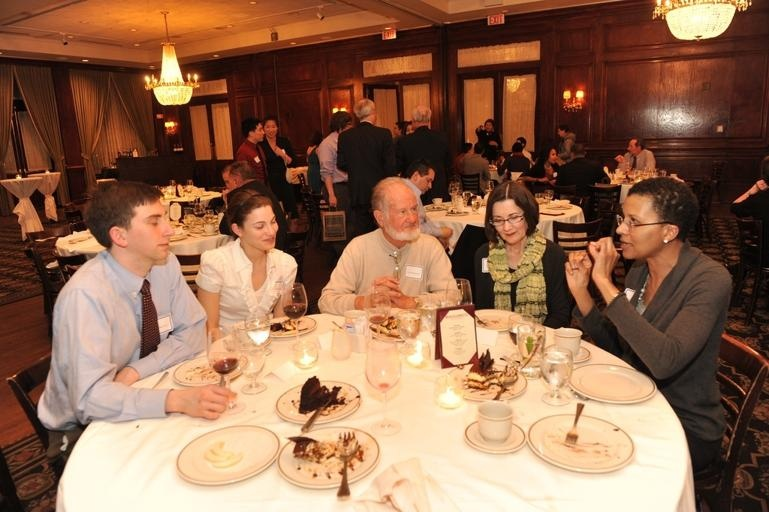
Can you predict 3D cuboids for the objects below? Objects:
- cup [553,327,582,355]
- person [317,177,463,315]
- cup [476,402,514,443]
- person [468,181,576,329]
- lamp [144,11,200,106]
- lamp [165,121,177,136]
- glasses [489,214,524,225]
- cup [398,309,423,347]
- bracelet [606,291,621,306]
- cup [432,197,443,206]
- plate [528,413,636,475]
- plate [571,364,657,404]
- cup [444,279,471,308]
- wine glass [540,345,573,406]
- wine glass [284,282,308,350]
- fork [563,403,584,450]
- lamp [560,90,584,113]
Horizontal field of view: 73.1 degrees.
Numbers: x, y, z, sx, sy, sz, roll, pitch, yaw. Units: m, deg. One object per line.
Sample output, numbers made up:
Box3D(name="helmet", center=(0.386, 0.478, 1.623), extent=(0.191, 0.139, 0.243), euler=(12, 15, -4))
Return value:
Box3D(name="cup", center=(0.834, 0.375, 2.400), extent=(0.109, 0.107, 0.138), euler=(-4, 9, 1))
Box3D(name="person", center=(0.039, -0.064, 3.192), extent=(0.709, 0.743, 0.917), euler=(8, 22, 30))
Box3D(name="cup", center=(0.411, 0.636, 1.967), extent=(0.146, 0.114, 0.138), euler=(-3, 7, 0))
Box3D(name="person", center=(0.781, 0.094, 3.151), extent=(0.611, 0.952, 0.616), euler=(1, 29, 27))
Box3D(name="lamp", center=(-4.101, -3.834, 9.887), extent=(0.937, 1.812, 0.988), euler=(1, 13, 11))
Box3D(name="lamp", center=(-6.080, -3.596, 14.698), extent=(0.355, 0.467, 0.361), euler=(2, 14, 3))
Box3D(name="glasses", center=(0.735, -0.214, 3.074), extent=(0.170, 0.072, 0.035), euler=(0, 19, 9))
Box3D(name="cup", center=(0.108, 0.330, 2.433), extent=(0.138, 0.159, 0.139), euler=(4, 10, -1))
Box3D(name="bracelet", center=(1.050, 0.194, 2.384), extent=(0.076, 0.019, 0.026), euler=(-45, 22, -11))
Box3D(name="cup", center=(0.637, -0.660, 6.285), extent=(0.104, 0.083, 0.087), euler=(-10, 26, -10))
Box3D(name="plate", center=(0.712, 0.693, 1.920), extent=(0.372, 0.384, 0.035), euler=(-21, 29, 26))
Box3D(name="plate", center=(0.974, 0.543, 2.217), extent=(0.342, 0.049, 0.245), euler=(3, 20, 18))
Box3D(name="cup", center=(0.367, 0.179, 2.577), extent=(0.127, 0.131, 0.127), euler=(0, 2, 0))
Box3D(name="wine glass", center=(0.710, 0.478, 2.135), extent=(0.117, 0.235, 0.143), euler=(5, 20, 24))
Box3D(name="wine glass", center=(-0.460, 0.275, 2.697), extent=(0.117, 0.264, 0.290), euler=(-7, 19, -12))
Box3D(name="fork", center=(0.726, 0.616, 1.996), extent=(0.040, 0.027, 0.300), euler=(7, 27, 22))
Box3D(name="lamp", center=(3.539, -2.920, 9.765), extent=(0.385, 0.376, 0.166), euler=(5, 10, 34))
